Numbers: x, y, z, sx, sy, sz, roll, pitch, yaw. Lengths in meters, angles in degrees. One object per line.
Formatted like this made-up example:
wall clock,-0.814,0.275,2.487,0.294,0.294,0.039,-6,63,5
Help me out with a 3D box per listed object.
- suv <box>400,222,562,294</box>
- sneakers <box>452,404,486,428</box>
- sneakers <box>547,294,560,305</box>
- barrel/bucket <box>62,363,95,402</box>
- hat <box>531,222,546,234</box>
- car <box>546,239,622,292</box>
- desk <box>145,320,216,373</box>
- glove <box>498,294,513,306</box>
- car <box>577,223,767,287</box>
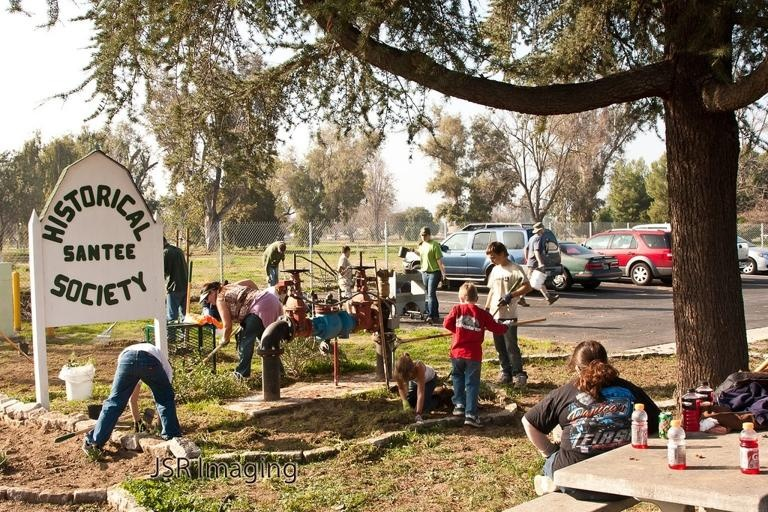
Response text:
suv,2.782,0.214,22.848,3.949,1.954,2.061,5,4,29
sneakers,1.096,2.078,10.577,0.428,0.204,0.243,3,10,22
sneakers,3.935,0.996,18.818,0.173,0.372,0.113,43,-17,-30
barrel/bucket,-4.445,1.826,11.788,0.428,0.435,0.466,0,-7,0
hat,3.801,-0.724,19.672,0.293,0.139,0.344,-7,-9,35
car,5.718,0.304,23.317,1.086,0.813,2.228,-7,13,-35
desk,-3.260,1.228,13.076,1.084,1.087,0.737,1,-1,-34
glove,1.818,0.640,11.984,0.205,0.168,0.099,-5,10,-26
car,6.642,0.044,19.238,1.736,1.295,3.349,-3,8,-33
